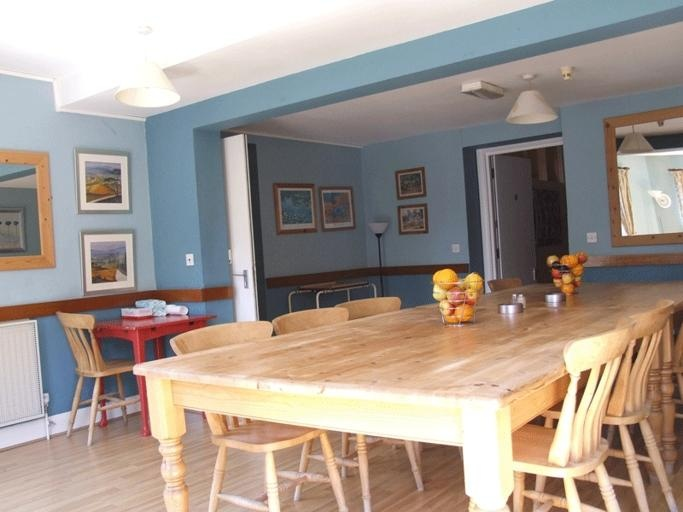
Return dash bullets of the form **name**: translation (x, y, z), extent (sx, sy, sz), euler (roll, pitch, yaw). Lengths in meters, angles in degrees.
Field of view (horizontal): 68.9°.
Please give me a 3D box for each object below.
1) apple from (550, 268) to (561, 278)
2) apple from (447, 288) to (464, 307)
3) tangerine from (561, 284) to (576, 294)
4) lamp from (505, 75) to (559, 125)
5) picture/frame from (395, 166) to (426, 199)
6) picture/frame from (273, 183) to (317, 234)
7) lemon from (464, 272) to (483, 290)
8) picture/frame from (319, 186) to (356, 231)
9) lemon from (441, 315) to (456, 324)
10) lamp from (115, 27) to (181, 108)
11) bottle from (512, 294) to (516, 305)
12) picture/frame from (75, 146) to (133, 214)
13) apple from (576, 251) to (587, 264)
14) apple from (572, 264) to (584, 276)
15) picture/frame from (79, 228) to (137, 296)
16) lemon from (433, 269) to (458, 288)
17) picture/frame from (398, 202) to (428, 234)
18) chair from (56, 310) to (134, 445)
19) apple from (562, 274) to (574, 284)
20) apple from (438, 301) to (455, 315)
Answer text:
- **apple**: translation (1.438, 0.121, 3.362), extent (0.069, 0.072, 0.068), euler (1, 2, 33)
- **apple**: translation (0.542, 0.195, 2.398), extent (0.085, 0.070, 0.078), euler (-1, -8, -8)
- **tangerine**: translation (1.525, 0.218, 3.340), extent (0.078, 0.067, 0.074), euler (-4, 6, -12)
- **lamp**: translation (1.536, -1.305, 4.079), extent (0.428, 0.366, 0.366), euler (-3, 7, -3)
- **picture/frame**: translation (0.970, -1.017, 6.942), extent (0.535, 0.453, 0.036), euler (2, 4, 29)
- **picture/frame**: translation (-0.639, -0.599, 6.392), extent (0.731, 0.639, 0.058), euler (-6, 1, -44)
- **lemon**: translation (0.643, 0.120, 2.440), extent (0.084, 0.058, 0.099), euler (10, -20, -14)
- **picture/frame**: translation (-0.098, -0.652, 6.929), extent (0.049, 0.551, 0.730), euler (-4, 1, 41)
- **lemon**: translation (0.524, 0.314, 2.456), extent (0.051, 0.029, 0.047), euler (-1, 2, 11)
- **lamp**: translation (-1.304, -1.295, 3.313), extent (0.405, 0.380, 0.408), euler (-14, 27, -40)
- **bottle**: translation (1.054, 0.269, 3.047), extent (0.025, 0.054, 0.063), euler (2, 0, 27)
- **picture/frame**: translation (-2.280, -0.702, 4.679), extent (0.035, 0.761, 0.748), euler (-3, 0, 39)
- **apple**: translation (1.594, 0.007, 3.303), extent (0.082, 0.073, 0.043), euler (-6, -35, 19)
- **apple**: translation (1.559, 0.097, 3.317), extent (0.097, 0.064, 0.069), euler (11, -4, -24)
- **picture/frame**: translation (-2.235, 0.066, 4.671), extent (0.035, 0.727, 0.713), euler (-4, 0, 41)
- **lemon**: translation (0.505, 0.112, 2.477), extent (0.108, 0.072, 0.102), euler (-9, -4, -34)
- **picture/frame**: translation (1.009, -0.526, 6.960), extent (0.511, 0.445, 0.039), euler (1, 3, 34)
- **chair**: translation (-2.111, 0.978, 4.264), extent (0.581, 1.111, 0.827), euler (-7, 3, -24)
- **apple**: translation (1.485, 0.154, 3.267), extent (0.071, 0.057, 0.068), euler (-2, 1, 22)
- **apple**: translation (0.508, 0.256, 2.416), extent (0.085, 0.061, 0.067), euler (3, -9, -28)
